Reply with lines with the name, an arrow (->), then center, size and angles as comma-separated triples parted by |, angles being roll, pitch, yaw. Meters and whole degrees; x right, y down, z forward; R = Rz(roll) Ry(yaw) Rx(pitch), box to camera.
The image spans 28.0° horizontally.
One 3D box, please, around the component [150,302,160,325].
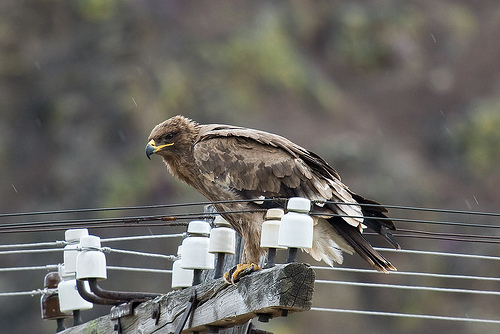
component -> -1.465, 2.308, 15.571 | 0.179, 0.341, 0.052 | -14, -18, 22
